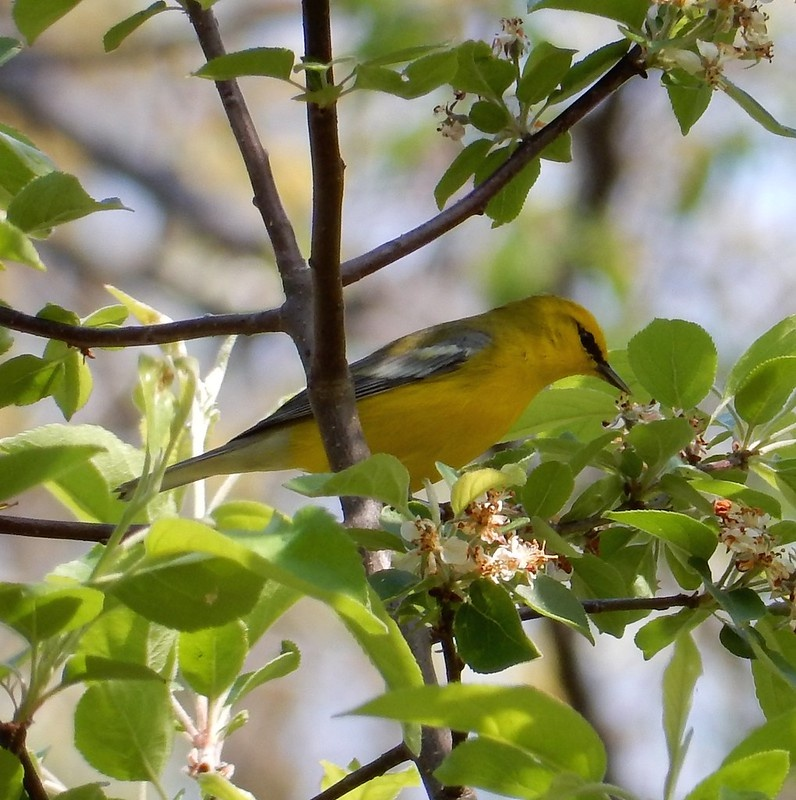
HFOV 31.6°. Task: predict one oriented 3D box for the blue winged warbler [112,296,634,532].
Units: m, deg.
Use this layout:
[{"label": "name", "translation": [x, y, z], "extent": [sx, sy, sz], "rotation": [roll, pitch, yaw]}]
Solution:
[{"label": "blue winged warbler", "translation": [0.076, 0.012, 4.344], "extent": [1.855, 0.577, 0.471], "rotation": [2, -19, -9]}]
